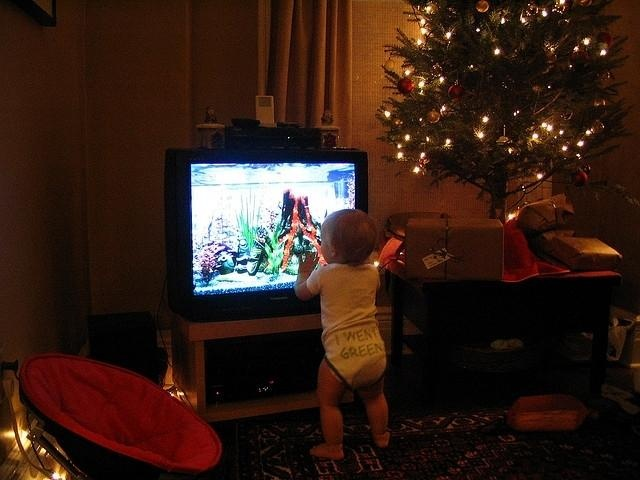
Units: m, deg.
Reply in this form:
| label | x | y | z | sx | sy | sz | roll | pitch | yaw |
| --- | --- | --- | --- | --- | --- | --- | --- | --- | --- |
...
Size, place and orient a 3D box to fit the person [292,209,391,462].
| label | x | y | z | sx | sy | sz | roll | pitch | yaw |
| --- | --- | --- | --- | --- | --- | --- | --- | --- | --- |
| person | 0.097 | 0.385 | 2.470 | 0.393 | 1.033 | 0.322 | -4 | 7 | -2 |

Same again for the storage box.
| label | x | y | z | sx | sy | sz | roll | pitch | yaw |
| --- | --- | --- | --- | --- | --- | --- | --- | --- | --- |
| storage box | 0.641 | 0.047 | 2.761 | 0.462 | 0.307 | 0.098 | -3 | 7 | 8 |

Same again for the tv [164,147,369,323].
| label | x | y | z | sx | sy | sz | roll | pitch | yaw |
| --- | --- | --- | --- | --- | --- | --- | --- | --- | --- |
| tv | -0.254 | -0.040 | 2.921 | 1.256 | 1.072 | 0.663 | 0 | 3 | -14 |

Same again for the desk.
| label | x | y | z | sx | sy | sz | roll | pitch | yaw |
| --- | --- | --- | --- | --- | --- | --- | --- | --- | --- |
| desk | 0.949 | 0.346 | 3.022 | 0.738 | 0.485 | 0.779 | -1 | 18 | 0 |
